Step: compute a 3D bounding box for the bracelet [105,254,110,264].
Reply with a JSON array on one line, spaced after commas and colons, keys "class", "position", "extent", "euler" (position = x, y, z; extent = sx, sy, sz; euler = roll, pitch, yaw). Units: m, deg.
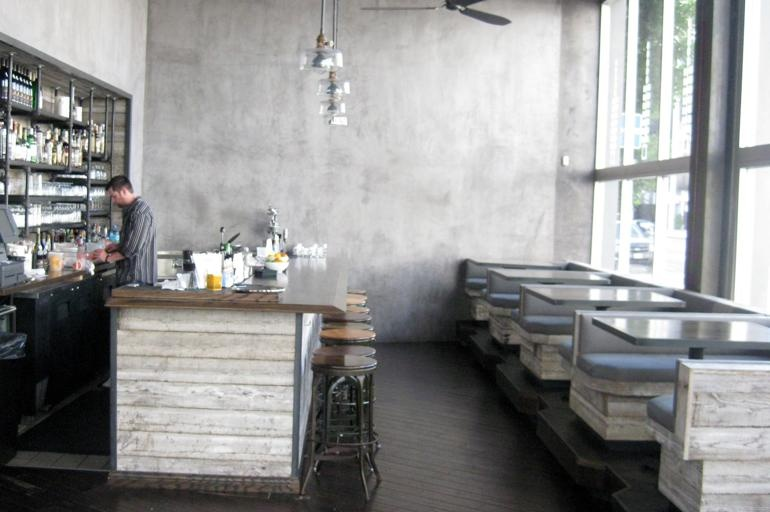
[{"class": "bracelet", "position": [-2.733, 0.028, 6.579], "extent": [0.053, 0.068, 0.020], "euler": [-4, -12, 16]}]

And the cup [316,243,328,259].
[{"class": "cup", "position": [-0.826, -0.065, 8.763], "extent": [0.192, 0.217, 0.163], "euler": [1, -5, -4]}]

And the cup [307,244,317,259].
[{"class": "cup", "position": [-0.962, -0.053, 8.781], "extent": [0.146, 0.253, 0.143], "euler": [2, -5, 0]}]
